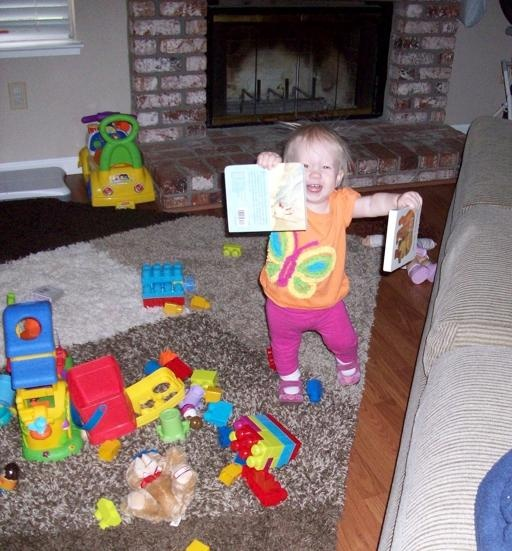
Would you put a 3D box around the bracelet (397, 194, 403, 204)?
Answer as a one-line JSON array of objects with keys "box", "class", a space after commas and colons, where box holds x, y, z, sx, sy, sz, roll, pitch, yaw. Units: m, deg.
[{"box": [0.321, -0.168, 1.053, 0.011, 0.025, 0.033, 7, 25, 11], "class": "bracelet"}]

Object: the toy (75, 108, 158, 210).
[{"box": [-0.710, -0.613, 2.383, 0.333, 0.388, 0.555, -5, 45, -16], "class": "toy"}]

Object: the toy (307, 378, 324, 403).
[{"box": [0.170, 0.305, 1.266, 0.036, 0.018, 0.054, -3, 42, 3], "class": "toy"}]

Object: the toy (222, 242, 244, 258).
[{"box": [-0.081, -0.099, 1.913, 0.097, 0.057, 0.049, 1, 25, -5], "class": "toy"}]

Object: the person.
[{"box": [0.207, 0.013, 1.179, 0.431, 0.682, 0.315, 2, 21, 20], "class": "person"}]

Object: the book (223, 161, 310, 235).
[{"box": [0.027, -0.163, 0.990, 0.199, 0.166, 0.045, -1, 5, -6], "class": "book"}]

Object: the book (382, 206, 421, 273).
[{"box": [0.356, -0.082, 1.140, 0.032, 0.145, 0.215, 11, 27, 28], "class": "book"}]
